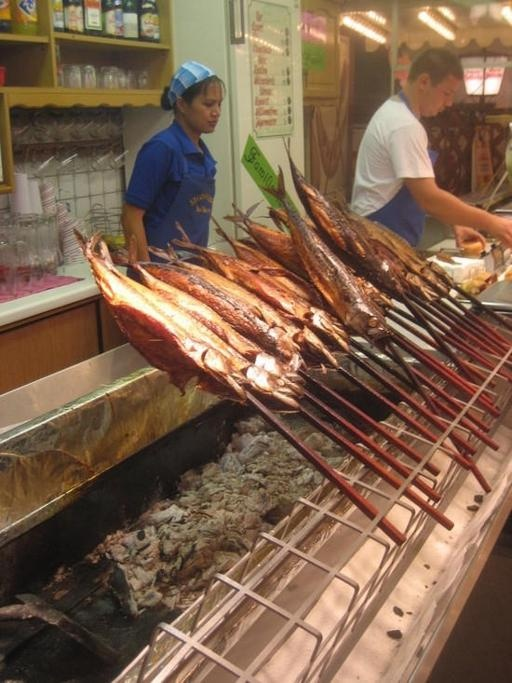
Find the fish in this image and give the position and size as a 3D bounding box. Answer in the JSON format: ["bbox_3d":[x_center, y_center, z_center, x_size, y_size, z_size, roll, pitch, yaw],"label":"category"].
[{"bbox_3d":[0.092,-0.087,0.793,0.402,0.377,0.644,4,13,21],"label":"fish"}]
